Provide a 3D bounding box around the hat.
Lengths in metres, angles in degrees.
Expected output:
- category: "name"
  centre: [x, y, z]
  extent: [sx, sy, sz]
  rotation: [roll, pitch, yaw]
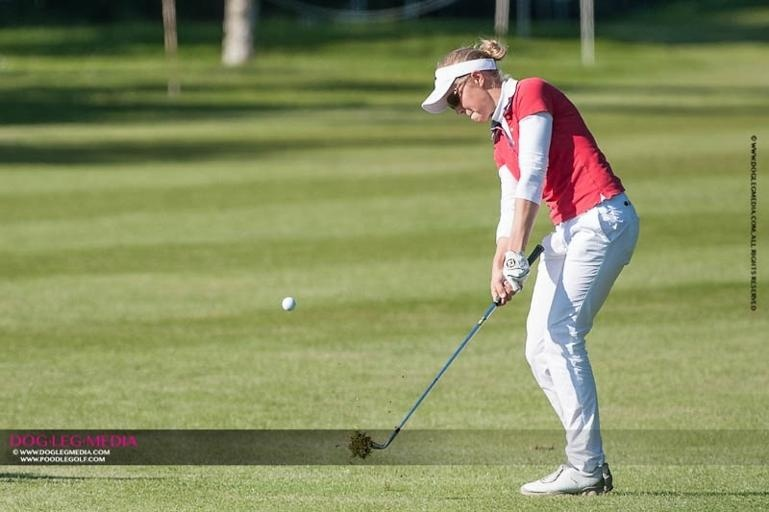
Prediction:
- category: "hat"
  centre: [0.730, -1.679, 17.277]
  extent: [0.724, 0.513, 0.185]
  rotation: [-2, 12, 1]
